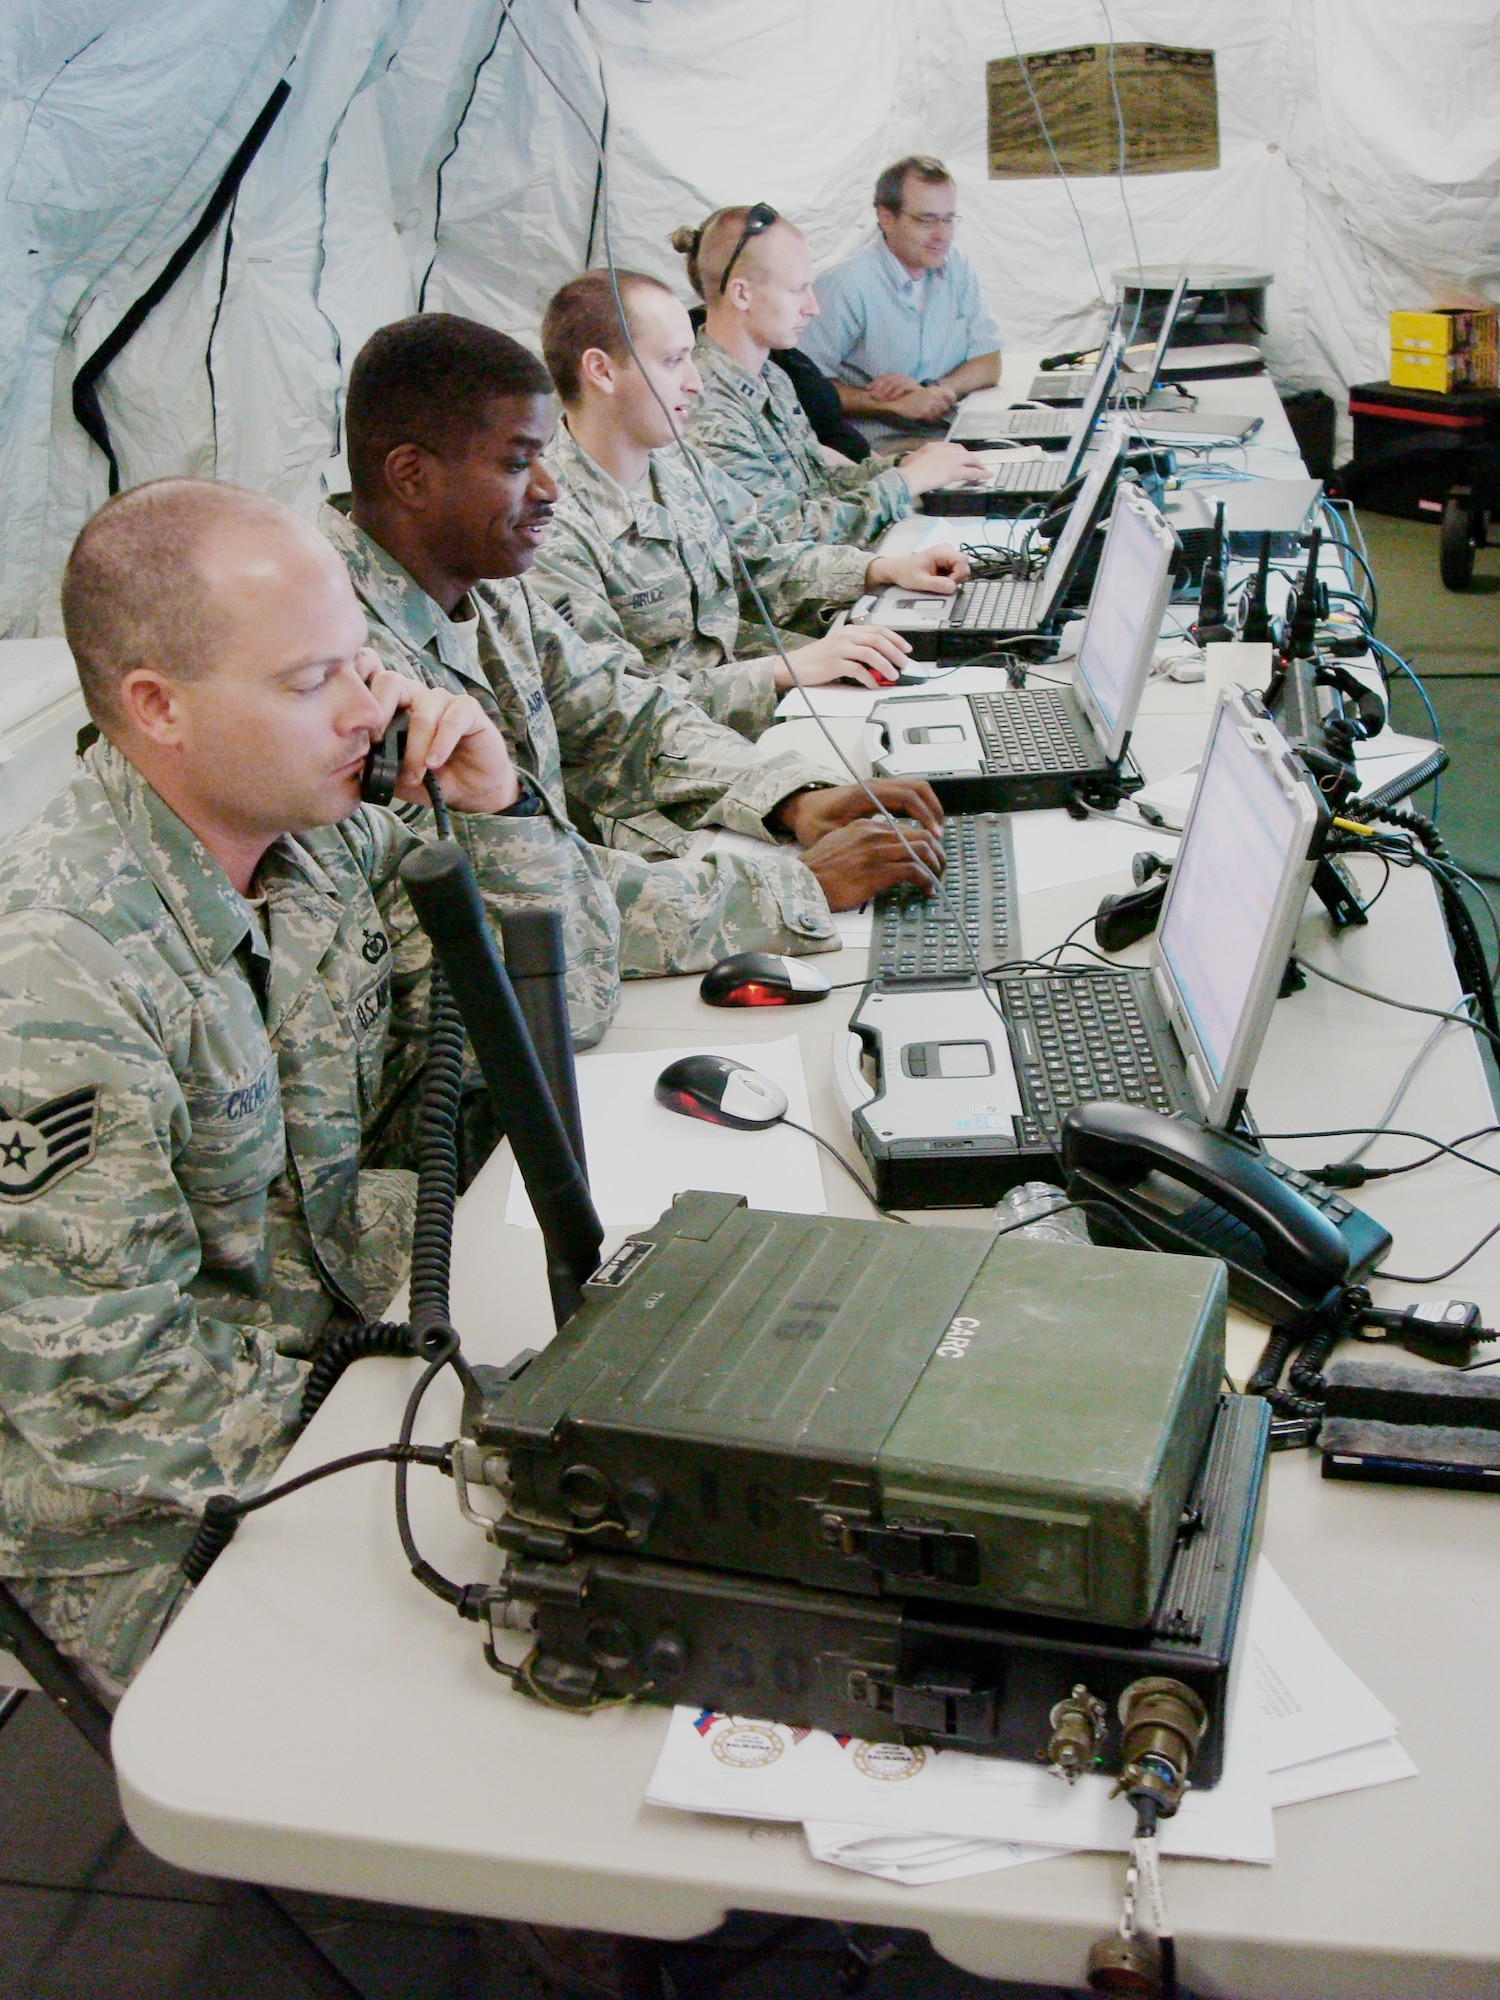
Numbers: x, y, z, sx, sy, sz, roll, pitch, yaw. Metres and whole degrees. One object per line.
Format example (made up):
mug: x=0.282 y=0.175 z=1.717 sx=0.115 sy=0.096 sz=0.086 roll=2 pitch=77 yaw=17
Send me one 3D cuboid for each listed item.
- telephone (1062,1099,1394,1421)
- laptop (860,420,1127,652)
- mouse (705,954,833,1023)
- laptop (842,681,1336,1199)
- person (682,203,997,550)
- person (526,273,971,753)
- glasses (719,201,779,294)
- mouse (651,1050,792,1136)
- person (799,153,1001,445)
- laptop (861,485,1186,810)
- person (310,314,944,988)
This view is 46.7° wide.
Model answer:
telephone: x=0.310 y=0.146 z=1.142 sx=0.195 sy=0.082 sz=0.251 roll=-21 pitch=38 yaw=-26
laptop: x=0.410 y=-0.664 z=2.789 sx=0.424 sy=0.367 sz=0.612 roll=3 pitch=34 yaw=11
mouse: x=0.015 y=-0.009 z=1.613 sx=0.097 sy=0.033 sz=0.052 roll=-1 pitch=34 yaw=9
laptop: x=0.248 y=0.007 z=1.413 sx=0.389 sy=0.360 sz=0.439 roll=3 pitch=27 yaw=6
person: x=0.159 y=-1.245 z=3.663 sx=0.633 sy=0.733 sz=0.510 roll=-8 pitch=17 yaw=-8
person: x=-0.009 y=-0.756 z=2.800 sx=0.753 sy=0.728 sz=0.517 roll=-2 pitch=31 yaw=4
glasses: x=0.018 y=-1.487 z=3.463 sx=0.171 sy=0.067 sz=0.117 roll=-52 pitch=13 yaw=2
mouse: x=-0.024 y=0.072 z=1.404 sx=0.092 sy=0.029 sz=0.055 roll=12 pitch=35 yaw=30
person: x=0.466 y=-1.983 z=5.071 sx=0.623 sy=0.827 sz=0.512 roll=-20 pitch=37 yaw=-25
laptop: x=0.362 y=-0.369 z=2.187 sx=0.416 sy=0.400 sz=0.470 roll=-4 pitch=31 yaw=6
person: x=-0.120 y=-0.360 z=1.977 sx=0.804 sy=0.770 sz=0.490 roll=17 pitch=37 yaw=26
